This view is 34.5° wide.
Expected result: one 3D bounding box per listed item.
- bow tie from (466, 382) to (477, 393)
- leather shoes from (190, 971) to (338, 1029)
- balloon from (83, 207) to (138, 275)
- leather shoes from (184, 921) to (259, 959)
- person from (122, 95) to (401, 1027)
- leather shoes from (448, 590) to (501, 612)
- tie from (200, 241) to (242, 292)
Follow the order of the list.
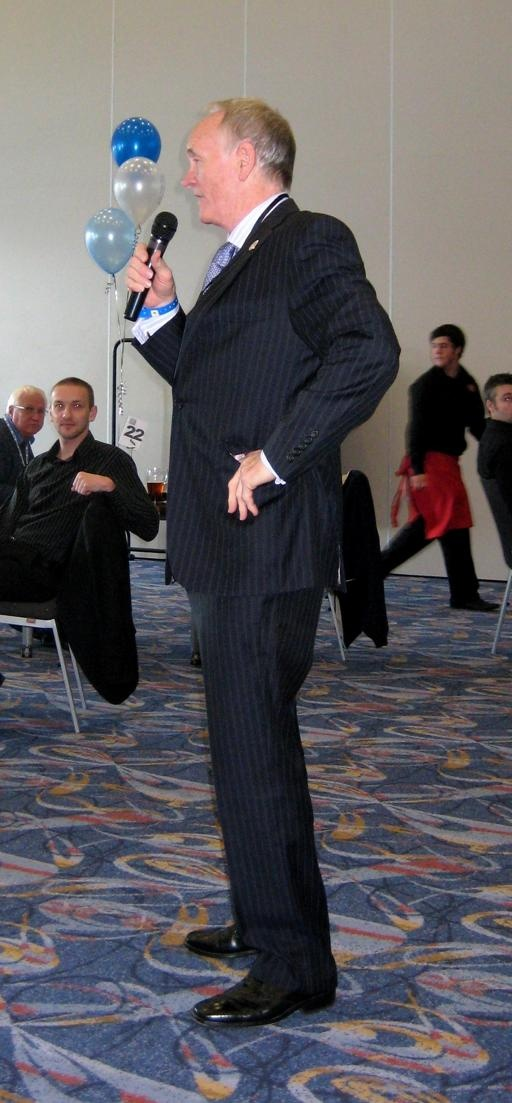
[{"bbox_3d":[1.845,-1.409,7.057,0.079,0.081,0.076,34,-2,16],"label":"bow tie"},{"bbox_3d":[0.001,0.652,1.233,0.172,0.093,0.075,4,-11,-13],"label":"leather shoes"},{"bbox_3d":[-1.196,-2.567,6.802,0.417,0.601,0.444,3,11,29],"label":"balloon"},{"bbox_3d":[-0.063,0.665,1.443,0.127,0.061,0.086,7,-6,-3],"label":"leather shoes"},{"bbox_3d":[-0.012,0.019,1.190,0.420,1.325,0.282,1,5,13],"label":"person"},{"bbox_3d":[1.581,0.359,6.038,0.380,0.195,0.142,-2,-2,11],"label":"leather shoes"},{"bbox_3d":[-0.051,-0.419,1.193,0.020,0.093,0.054,25,5,-24],"label":"tie"}]
